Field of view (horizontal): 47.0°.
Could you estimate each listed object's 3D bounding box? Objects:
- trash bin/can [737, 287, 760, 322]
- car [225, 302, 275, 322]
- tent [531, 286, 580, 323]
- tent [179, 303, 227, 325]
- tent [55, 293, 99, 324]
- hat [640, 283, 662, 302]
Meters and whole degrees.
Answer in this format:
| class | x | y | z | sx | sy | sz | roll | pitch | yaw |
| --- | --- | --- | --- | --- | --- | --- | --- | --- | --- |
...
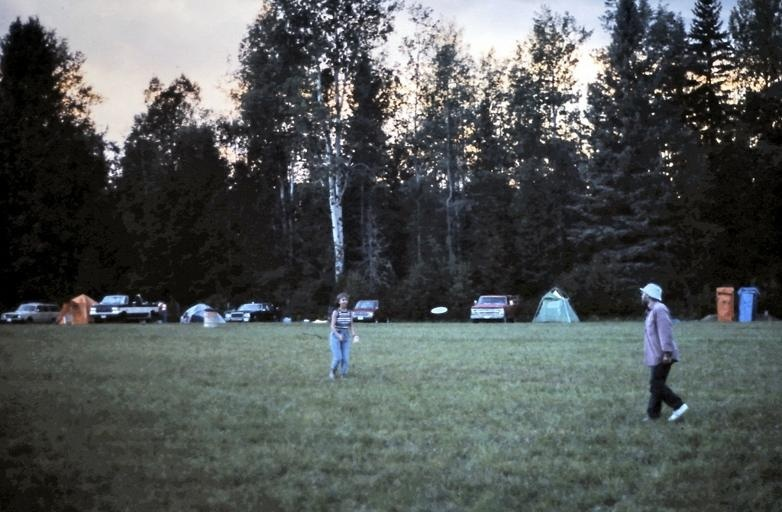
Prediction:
| class | x | y | z | sx | sy | sz | roll | pitch | yaw |
| --- | --- | --- | --- | --- | --- | --- | --- | --- | --- |
| trash bin/can | 23.632 | 3.240 | 59.675 | 1.188 | 2.240 | 1.440 | -2 | -6 | 22 |
| car | -11.334 | 4.709 | 75.894 | 3.305 | 1.769 | 5.425 | -2 | -6 | 24 |
| tent | 12.250 | 3.757 | 66.066 | 2.710 | 2.289 | 2.703 | -1 | 3 | 38 |
| tent | -14.838 | 4.406 | 68.571 | 1.948 | 1.528 | 5.605 | 1 | -6 | -12 |
| tent | -23.313 | 3.936 | 66.901 | 2.101 | 1.782 | 2.338 | 1 | -5 | -8 |
| hat | 8.469 | 1.167 | 29.582 | 0.601 | 0.340 | 0.739 | -6 | 26 | -38 |
